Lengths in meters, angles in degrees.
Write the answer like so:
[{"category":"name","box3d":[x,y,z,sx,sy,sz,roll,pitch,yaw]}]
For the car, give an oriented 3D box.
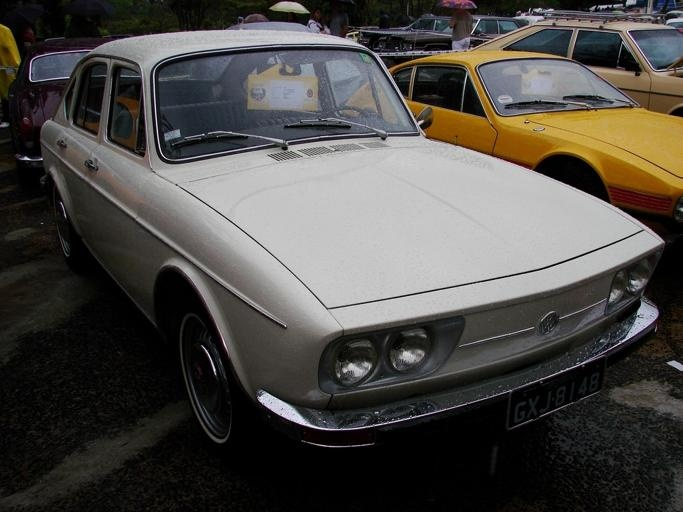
[{"category":"car","box3d":[-0.623,-0.345,3.174,2.069,1.353,4.114,-13,27,-32]}]
